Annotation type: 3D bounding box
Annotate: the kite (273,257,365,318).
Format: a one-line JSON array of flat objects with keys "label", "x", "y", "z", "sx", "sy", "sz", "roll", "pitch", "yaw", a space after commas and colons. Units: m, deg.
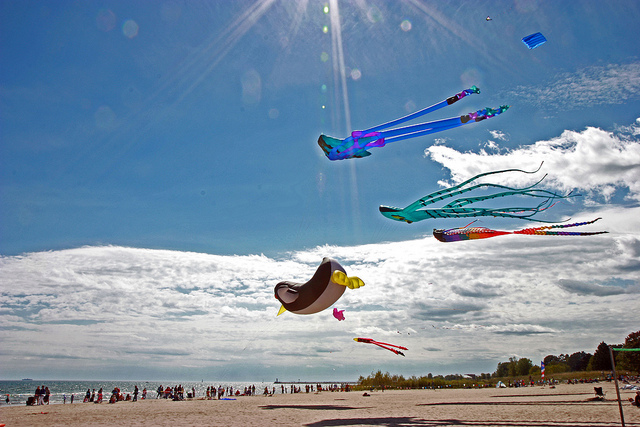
[{"label": "kite", "x": -0.755, "y": 6.966, "z": 49.722, "sx": 8.061, "sy": 5.071, "sz": 1.894, "roll": -10, "pitch": -25, "yaw": 20}]
